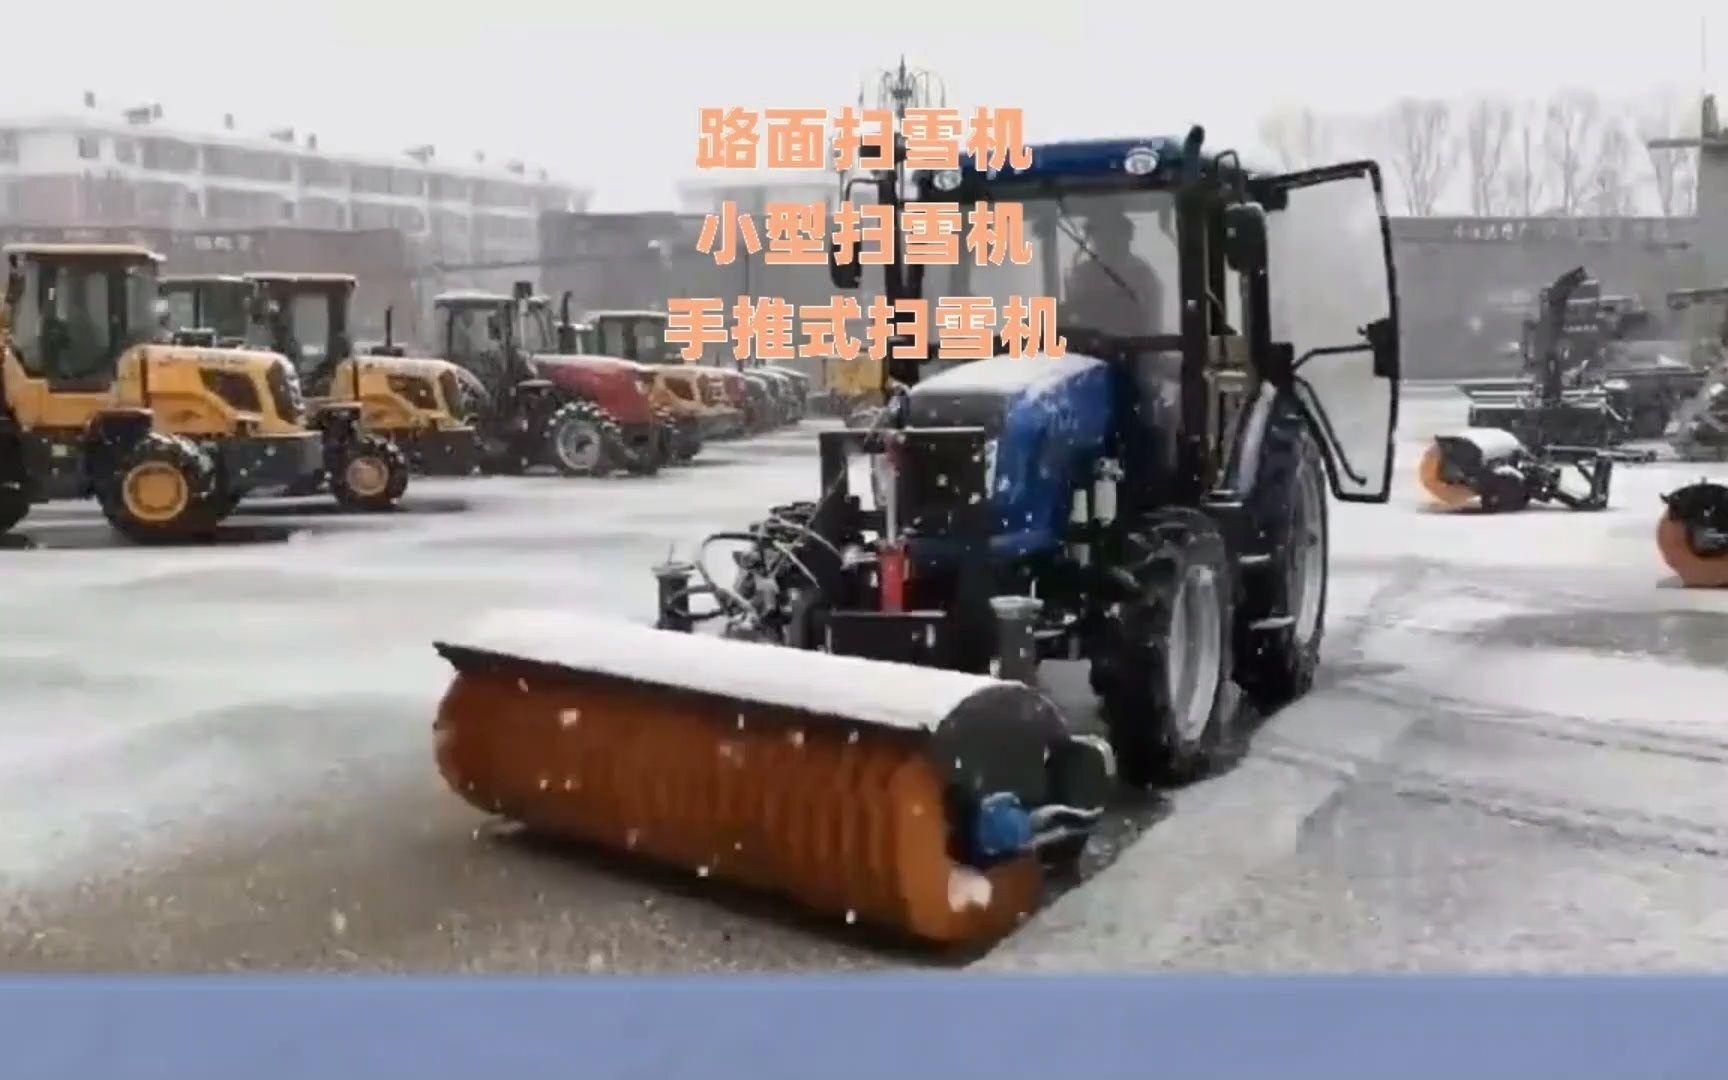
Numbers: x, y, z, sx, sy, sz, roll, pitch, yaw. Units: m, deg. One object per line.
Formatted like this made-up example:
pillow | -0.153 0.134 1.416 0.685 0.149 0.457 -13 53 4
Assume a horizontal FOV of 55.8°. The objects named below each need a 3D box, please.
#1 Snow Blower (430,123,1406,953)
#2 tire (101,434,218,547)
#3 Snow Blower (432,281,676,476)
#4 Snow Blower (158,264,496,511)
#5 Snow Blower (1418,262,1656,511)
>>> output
Snow Blower | 0.884 -0.441 8.660 2.958 4.072 5.939 2 2 35
tire | -6.454 -0.524 14.862 0.797 0.952 0.239 18 26 -35
Snow Blower | -4.442 -2.199 22.712 3.209 2.460 1.852 2 9 9
Snow Blower | -6.865 -1.912 18.982 3.884 2.935 2.218 3 4 -2
Snow Blower | 8.065 -1.692 19.912 2.487 2.731 5.057 1 6 17
